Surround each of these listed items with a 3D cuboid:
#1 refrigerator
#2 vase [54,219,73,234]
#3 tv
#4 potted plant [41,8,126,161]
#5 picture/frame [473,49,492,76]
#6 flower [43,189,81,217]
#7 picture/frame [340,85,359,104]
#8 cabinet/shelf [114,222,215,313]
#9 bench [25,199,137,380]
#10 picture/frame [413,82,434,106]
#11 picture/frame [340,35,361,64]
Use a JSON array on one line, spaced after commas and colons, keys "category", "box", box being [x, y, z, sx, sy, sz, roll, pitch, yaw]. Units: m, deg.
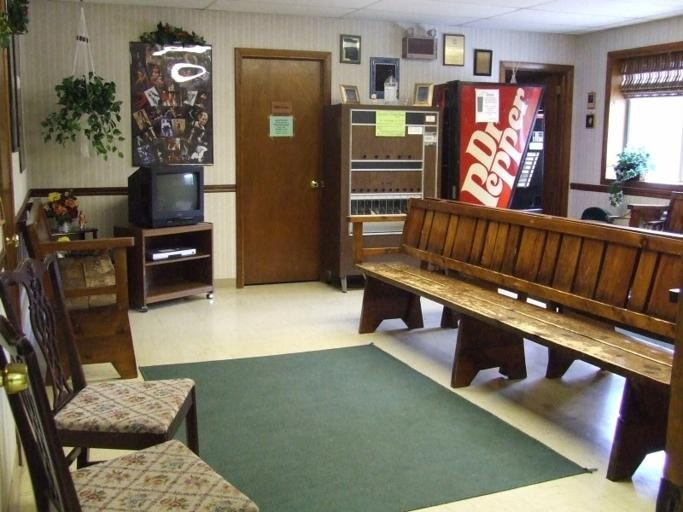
[{"category": "refrigerator", "box": [1.942, -1.660, 6.980, 1.076, 1.802, 0.855, 1, 46, 14]}, {"category": "vase", "box": [-2.706, -0.286, 5.167, 0.140, 0.104, 0.148, 1, 3, -5]}, {"category": "tv", "box": [-1.853, -0.616, 5.629, 0.801, 0.634, 0.832, -1, 6, 10]}, {"category": "potted plant", "box": [-2.600, -1.756, 5.299, 0.782, 1.556, 0.682, -6, 12, -29]}, {"category": "picture/frame", "box": [1.829, -2.535, 6.929, 0.317, 0.396, 0.041, -1, 9, -16]}, {"category": "flower", "box": [-2.696, -0.497, 5.132, 0.199, 0.307, 0.293, -14, 4, 17]}, {"category": "picture/frame", "box": [0.089, -1.911, 6.287, 0.032, 0.280, 0.306, -13, -6, 44]}, {"category": "cabinet/shelf", "box": [-1.834, 0.071, 5.637, 0.470, 0.865, 0.815, 11, 14, 41]}, {"category": "bench", "box": [-1.719, 0.226, 3.526, 0.454, 0.850, 1.222, -4, 12, -23]}, {"category": "picture/frame", "box": [0.996, -1.969, 6.469, 0.230, 0.290, 0.329, 1, 11, 3]}, {"category": "picture/frame", "box": [0.091, -2.489, 6.379, 0.324, 0.402, 0.039, -2, 5, -26]}]
